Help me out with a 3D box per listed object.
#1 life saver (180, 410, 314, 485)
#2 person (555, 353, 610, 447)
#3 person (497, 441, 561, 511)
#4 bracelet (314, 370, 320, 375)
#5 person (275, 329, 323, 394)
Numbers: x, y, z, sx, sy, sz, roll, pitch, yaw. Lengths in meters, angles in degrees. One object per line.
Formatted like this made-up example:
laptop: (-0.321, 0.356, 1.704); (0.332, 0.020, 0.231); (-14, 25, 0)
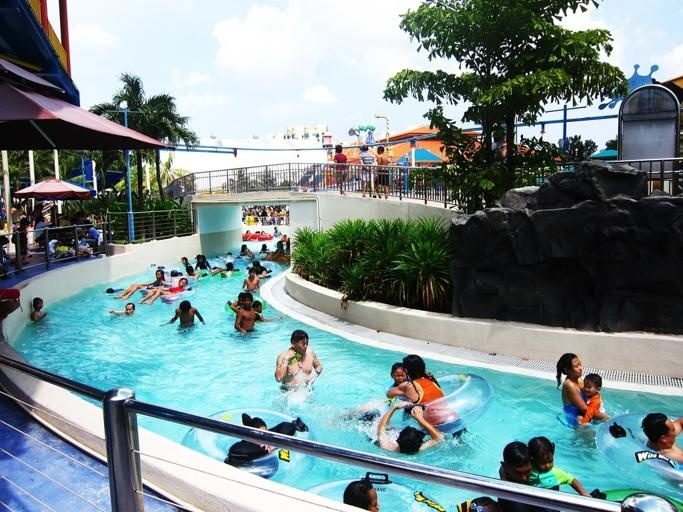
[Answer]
life saver: (-1.329, 2.272, 5.864); (1.743, 0.496, 1.777); (12, -14, -24)
person: (3.253, 2.125, 6.252); (0.494, 1.554, 0.675); (-16, 12, -33)
person: (1.632, 2.036, 4.226); (0.376, 0.524, 0.816); (0, 12, 21)
bracelet: (-0.402, 1.965, 7.726); (0.053, 0.077, 0.073); (-4, 2, 4)
person: (-0.716, 1.860, 7.941); (0.810, 0.534, 1.153); (-2, 48, -8)
